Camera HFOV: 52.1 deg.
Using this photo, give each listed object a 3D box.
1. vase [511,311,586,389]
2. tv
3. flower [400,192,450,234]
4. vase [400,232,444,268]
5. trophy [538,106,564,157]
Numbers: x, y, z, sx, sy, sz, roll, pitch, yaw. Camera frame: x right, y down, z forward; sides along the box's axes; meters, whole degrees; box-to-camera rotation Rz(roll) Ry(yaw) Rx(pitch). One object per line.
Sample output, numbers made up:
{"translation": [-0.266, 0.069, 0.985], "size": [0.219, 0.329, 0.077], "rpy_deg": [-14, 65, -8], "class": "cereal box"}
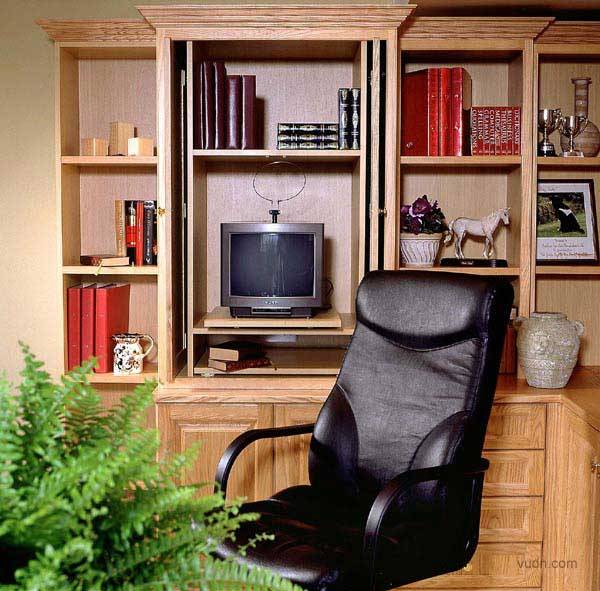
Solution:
{"translation": [0.936, 0.202, 2.331], "size": [0.279, 0.244, 0.236], "rpy_deg": [1, 2, 27], "class": "vase"}
{"translation": [-0.132, -0.084, 2.526], "size": [0.593, 0.481, 0.334], "rpy_deg": [1, 5, 1], "class": "tv"}
{"translation": [0.487, -0.314, 2.473], "size": [0.184, 0.083, 0.172], "rpy_deg": [-5, 34, -1], "class": "flower"}
{"translation": [0.466, -0.177, 2.421], "size": [0.159, 0.099, 0.153], "rpy_deg": [2, 5, 20], "class": "vase"}
{"translation": [0.974, -0.634, 2.414], "size": [0.090, 0.177, 0.091], "rpy_deg": [1, 5, 28], "class": "trophy"}
